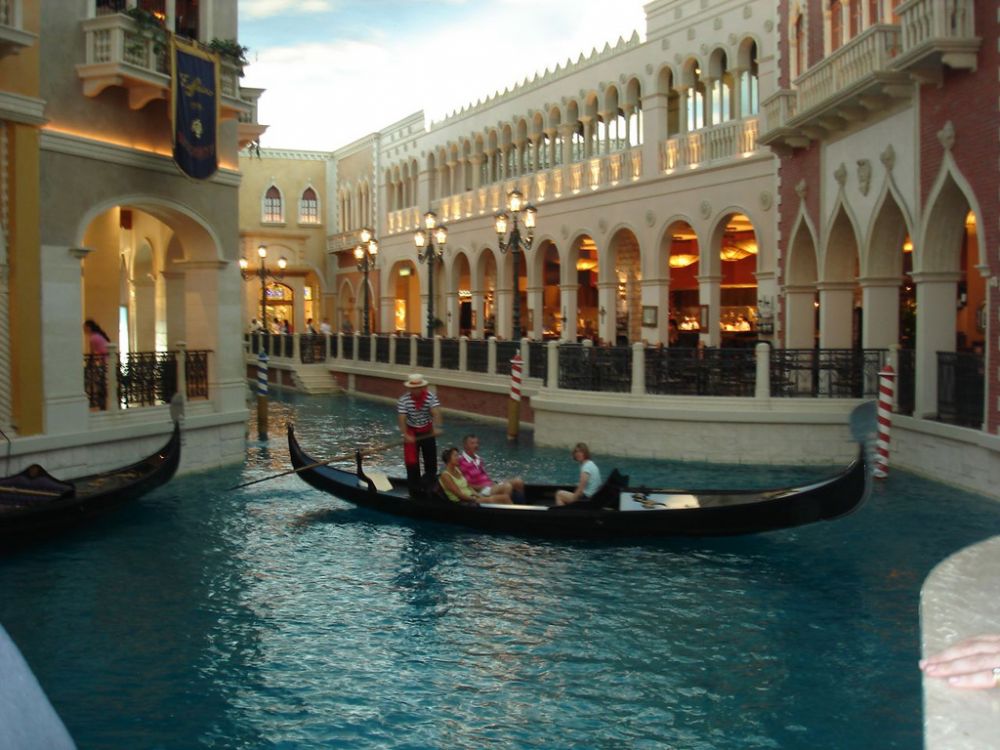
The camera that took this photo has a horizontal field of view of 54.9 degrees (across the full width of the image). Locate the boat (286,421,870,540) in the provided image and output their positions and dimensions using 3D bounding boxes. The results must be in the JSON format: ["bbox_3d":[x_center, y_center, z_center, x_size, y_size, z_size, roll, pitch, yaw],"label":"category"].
[{"bbox_3d":[0.947,1.357,12.195,7.052,1.287,1.236,1,7,8],"label":"boat"}]

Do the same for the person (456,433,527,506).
[{"bbox_3d":[-0.083,1.428,12.807,1.018,1.321,0.624,-4,2,29],"label":"person"}]

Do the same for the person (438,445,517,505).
[{"bbox_3d":[-0.216,1.381,12.724,1.165,0.901,0.539,-3,10,3],"label":"person"}]

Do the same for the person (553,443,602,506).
[{"bbox_3d":[1.095,1.277,12.556,0.776,1.180,0.570,1,1,9],"label":"person"}]

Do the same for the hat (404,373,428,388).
[{"bbox_3d":[-1.220,0.095,13.864,0.410,0.182,0.454,1,8,2],"label":"hat"}]
